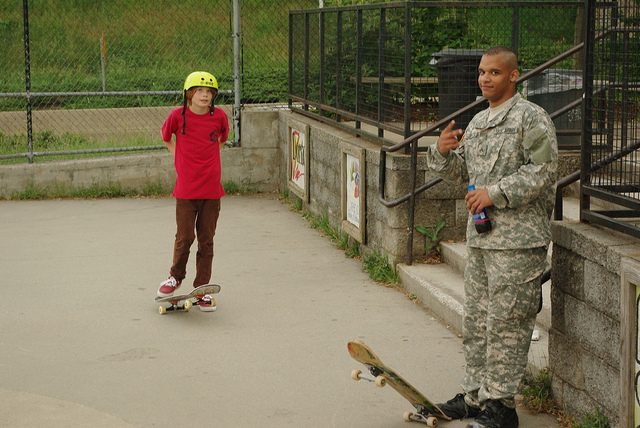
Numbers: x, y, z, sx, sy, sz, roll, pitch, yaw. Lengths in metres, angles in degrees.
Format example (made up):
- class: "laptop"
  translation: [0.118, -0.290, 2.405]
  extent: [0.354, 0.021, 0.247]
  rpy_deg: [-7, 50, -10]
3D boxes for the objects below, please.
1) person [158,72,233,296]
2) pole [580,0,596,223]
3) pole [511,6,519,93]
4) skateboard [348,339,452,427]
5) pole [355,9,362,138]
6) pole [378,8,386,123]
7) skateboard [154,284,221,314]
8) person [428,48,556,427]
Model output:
- class: "person"
  translation: [-1.394, -0.326, 8.959]
  extent: [0.763, 2.444, 0.451]
  rpy_deg: [-3, 11, -8]
- class: "pole"
  translation: [2.339, -1.029, 7.027]
  extent: [0.094, 1.616, 0.320]
  rpy_deg: [2, 12, 16]
- class: "pole"
  translation: [2.383, -2.234, 9.824]
  extent: [0.083, 0.570, 0.244]
  rpy_deg: [2, 12, 14]
- class: "skateboard"
  translation: [0.729, 1.572, 7.382]
  extent: [0.228, 0.835, 0.156]
  rpy_deg: [-6, 42, 55]
- class: "pole"
  translation: [0.553, -1.863, 10.914]
  extent: [0.087, 1.830, 0.094]
  rpy_deg: [-1, 0, 2]
- class: "pole"
  translation: [0.789, -1.888, 10.228]
  extent: [0.105, 1.397, 0.189]
  rpy_deg: [0, 11, 7]
- class: "skateboard"
  translation: [-1.461, 0.945, 9.048]
  extent: [0.833, 0.202, 0.315]
  rpy_deg: [-24, -34, 38]
- class: "person"
  translation: [1.504, 0.226, 6.857]
  extent: [0.934, 3.178, 0.758]
  rpy_deg: [3, 12, 19]
